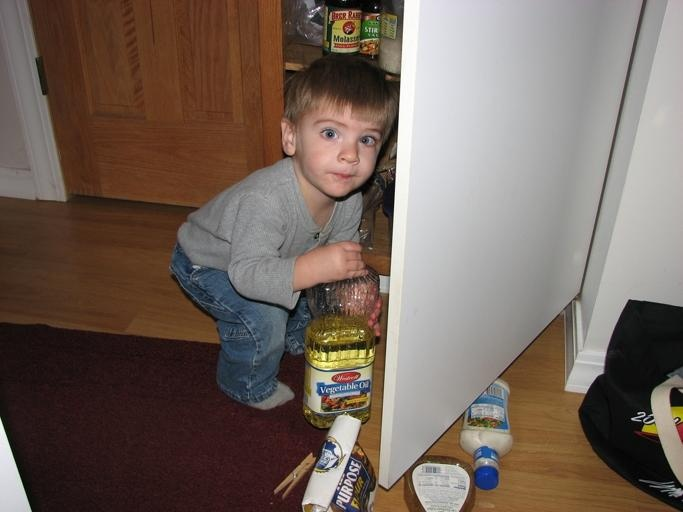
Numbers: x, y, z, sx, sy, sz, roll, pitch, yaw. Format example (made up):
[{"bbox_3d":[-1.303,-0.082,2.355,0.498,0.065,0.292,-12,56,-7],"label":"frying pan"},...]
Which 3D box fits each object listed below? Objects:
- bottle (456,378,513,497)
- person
[{"bbox_3d":[0.349,0.417,1.230,0.108,0.076,0.277,5,37,14],"label":"bottle"},{"bbox_3d":[-0.144,-0.069,1.323,0.504,0.822,0.555,4,15,-14],"label":"person"}]
